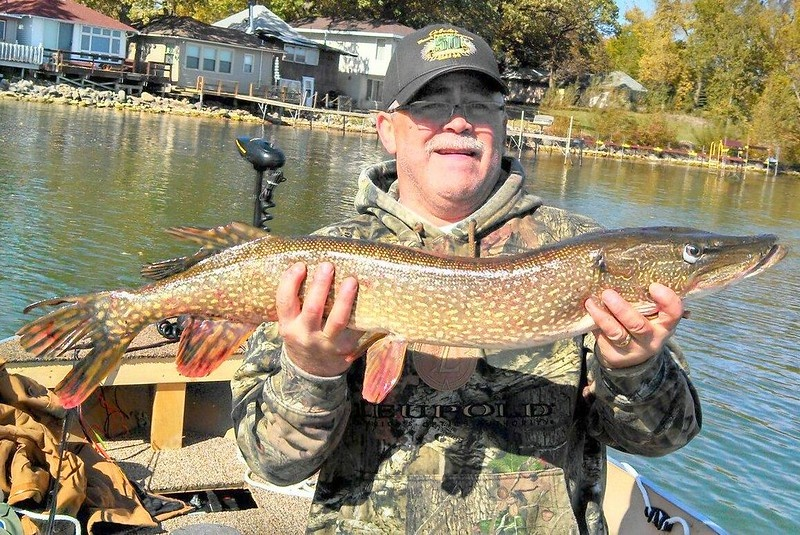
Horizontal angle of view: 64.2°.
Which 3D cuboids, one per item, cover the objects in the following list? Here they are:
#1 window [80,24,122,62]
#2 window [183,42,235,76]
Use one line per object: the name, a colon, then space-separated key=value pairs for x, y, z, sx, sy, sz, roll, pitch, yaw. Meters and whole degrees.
window: x=-21.756 y=-16.415 z=46.004 sx=0.140 sy=2.459 sz=3.438 roll=11 pitch=6 yaw=36
window: x=-14.927 y=-16.285 z=49.140 sx=2.762 sy=1.565 sz=0.190 roll=-1 pitch=12 yaw=-28
